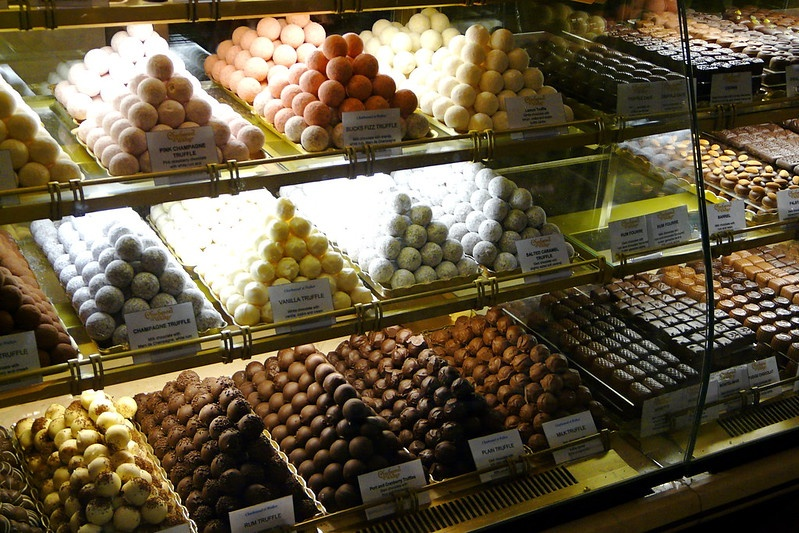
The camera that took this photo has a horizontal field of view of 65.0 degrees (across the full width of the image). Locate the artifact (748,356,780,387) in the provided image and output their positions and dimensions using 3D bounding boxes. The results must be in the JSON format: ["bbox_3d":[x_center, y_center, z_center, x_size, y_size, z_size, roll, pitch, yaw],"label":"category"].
[{"bbox_3d":[1.650,0.475,2.843,0.147,0.128,0.034,-9,-6,-26],"label":"artifact"}]

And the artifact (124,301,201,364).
[{"bbox_3d":[-0.832,0.232,2.211,0.227,0.161,0.124,-10,-44,-21],"label":"artifact"}]

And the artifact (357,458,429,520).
[{"bbox_3d":[-0.020,0.865,2.426,0.259,0.143,0.128,-13,-42,-17],"label":"artifact"}]
